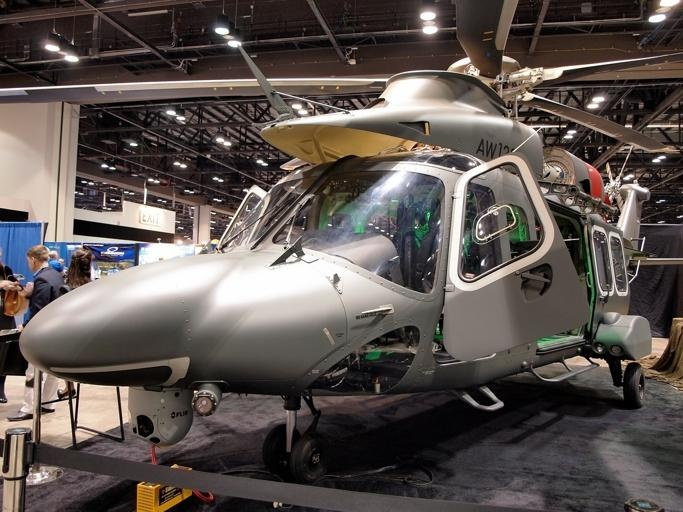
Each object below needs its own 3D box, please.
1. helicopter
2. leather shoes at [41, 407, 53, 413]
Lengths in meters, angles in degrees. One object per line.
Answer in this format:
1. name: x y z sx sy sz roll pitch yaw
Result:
1. helicopter: 0.810 -0.078 4.839 6.432 2.343 4.005 1 -3 -37
2. leather shoes: -3.107 1.635 5.224 0.157 0.038 0.075 -1 -1 -14
